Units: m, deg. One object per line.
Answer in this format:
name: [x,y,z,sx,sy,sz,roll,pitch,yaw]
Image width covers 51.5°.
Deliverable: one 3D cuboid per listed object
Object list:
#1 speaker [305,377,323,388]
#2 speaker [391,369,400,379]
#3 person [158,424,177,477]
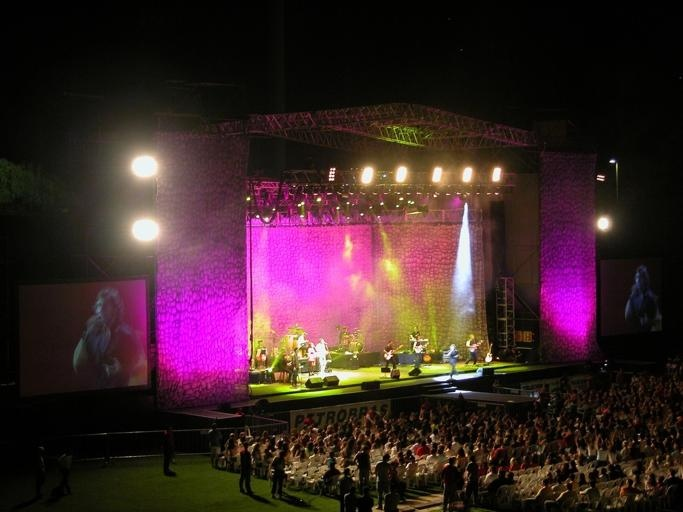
speaker: [-1.154,4.983,27.882,0.431,0.301,0.411,3,-5,-28]
speaker: [2.301,4.964,29.964,0.438,0.429,0.296,3,-5,-44]
person: [-5.332,5.916,21.661,0.384,1.279,1.774,-2,4,-15]
